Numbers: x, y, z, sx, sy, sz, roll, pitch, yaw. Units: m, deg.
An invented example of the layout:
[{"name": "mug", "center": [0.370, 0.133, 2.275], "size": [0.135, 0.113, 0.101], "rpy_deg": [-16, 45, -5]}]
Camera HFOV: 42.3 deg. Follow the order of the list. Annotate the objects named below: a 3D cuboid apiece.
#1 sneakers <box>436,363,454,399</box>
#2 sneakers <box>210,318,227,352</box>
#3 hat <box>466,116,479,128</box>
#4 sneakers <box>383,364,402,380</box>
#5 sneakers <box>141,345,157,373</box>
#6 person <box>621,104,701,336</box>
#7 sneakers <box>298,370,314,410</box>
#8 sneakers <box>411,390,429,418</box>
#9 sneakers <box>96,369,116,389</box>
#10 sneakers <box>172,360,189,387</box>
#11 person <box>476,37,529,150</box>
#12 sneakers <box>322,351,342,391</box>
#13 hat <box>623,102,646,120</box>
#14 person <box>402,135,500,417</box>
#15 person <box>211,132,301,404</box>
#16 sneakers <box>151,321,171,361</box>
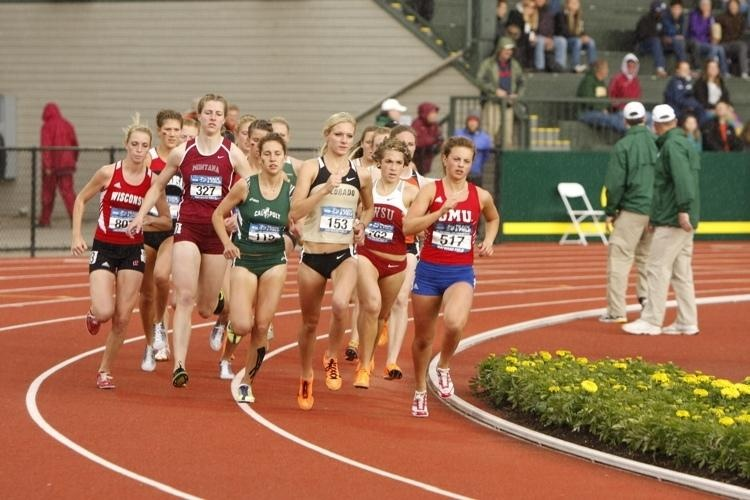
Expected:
[{"name": "sneakers", "center": [0.803, 1.488, 11.210], "size": [0.141, 0.168, 0.432], "rpy_deg": [-6, 48, -2]}, {"name": "sneakers", "center": [-2.077, 1.113, 12.899], "size": [0.168, 0.545, 0.200], "rpy_deg": [21, -32, -25]}, {"name": "hat", "center": [2.251, -2.934, 22.343], "size": [0.216, 0.293, 0.301], "rpy_deg": [-3, -29, 2]}, {"name": "sneakers", "center": [0.214, 1.428, 11.437], "size": [0.158, 0.196, 0.208], "rpy_deg": [10, -26, -44]}, {"name": "sneakers", "center": [-2.861, 1.406, 12.245], "size": [0.128, 0.398, 0.228], "rpy_deg": [3, -22, -7]}, {"name": "person", "center": [4.296, -0.422, 14.035], "size": [0.870, 3.270, 0.679], "rpy_deg": [3, 8, 16]}, {"name": "sneakers", "center": [-0.805, 1.594, 11.015], "size": [0.137, 0.429, 0.149], "rpy_deg": [-1, -10, 2]}, {"name": "sneakers", "center": [0.504, 1.732, 10.846], "size": [0.127, 0.153, 0.343], "rpy_deg": [1, 6, -1]}, {"name": "sneakers", "center": [-3.195, 1.555, 11.466], "size": [0.123, 0.152, 0.316], "rpy_deg": [2, -2, -28]}, {"name": "sneakers", "center": [-2.197, 1.429, 10.882], "size": [0.147, 0.271, 0.208], "rpy_deg": [-1, 9, -7]}, {"name": "person", "center": [3.022, -3.764, 23.452], "size": [1.106, 2.644, 0.765], "rpy_deg": [1, 8, 5]}, {"name": "sneakers", "center": [-0.515, 1.421, 11.473], "size": [0.153, 0.193, 0.501], "rpy_deg": [-6, 51, -9]}, {"name": "hat", "center": [3.980, -2.117, 14.893], "size": [0.322, 0.252, 0.489], "rpy_deg": [-2, 13, 16]}, {"name": "person", "center": [0.827, 0.294, 10.848], "size": [1.023, 3.078, 0.732], "rpy_deg": [-1, 8, -11]}, {"name": "person", "center": [-1.507, 0.157, 13.486], "size": [1.050, 3.529, 1.074], "rpy_deg": [13, 26, 6]}, {"name": "sneakers", "center": [-2.735, 1.132, 12.207], "size": [0.190, 0.242, 0.622], "rpy_deg": [-8, 49, 2]}]
